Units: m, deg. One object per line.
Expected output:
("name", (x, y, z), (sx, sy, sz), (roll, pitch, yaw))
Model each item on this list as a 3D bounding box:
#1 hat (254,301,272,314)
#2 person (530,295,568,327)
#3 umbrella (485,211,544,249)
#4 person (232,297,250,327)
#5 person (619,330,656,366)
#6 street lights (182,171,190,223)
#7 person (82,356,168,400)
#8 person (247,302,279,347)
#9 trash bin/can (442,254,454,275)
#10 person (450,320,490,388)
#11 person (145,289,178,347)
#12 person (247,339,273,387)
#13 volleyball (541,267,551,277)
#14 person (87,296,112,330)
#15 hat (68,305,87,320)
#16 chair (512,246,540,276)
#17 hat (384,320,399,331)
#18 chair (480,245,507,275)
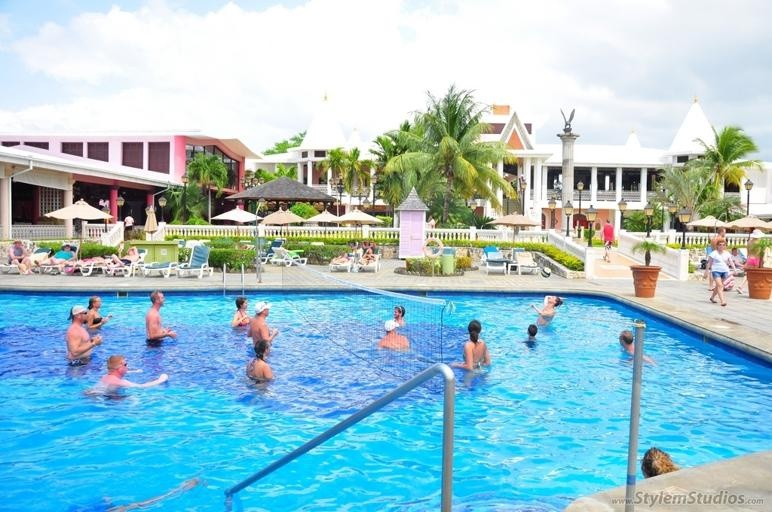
("hat", (-3.006, 1.334, 17.020), (0.323, 0.192, 0.421), (4, 20, 30))
("person", (4.663, 1.584, 19.815), (0.626, 0.788, 0.902), (0, 1, 11))
("umbrella", (6.138, -1.604, 34.359), (2.384, 1.631, 2.436), (2, 5, 24))
("person", (-4.134, 1.622, 19.437), (0.417, 0.760, 0.720), (-3, 10, -12))
("person", (6.209, 2.242, 17.028), (0.697, 0.845, 1.615), (0, 2, 13))
("street lights", (-13.011, -3.402, 44.361), (0.429, 2.417, 0.904), (-1, 1, -17))
("person", (-5.736, 2.723, 15.231), (0.838, 0.663, 1.306), (19, 19, 38))
("person", (-3.224, 1.841, 17.970), (0.654, 1.430, 0.493), (22, 33, 35))
("trash bin/can", (2.587, 0.393, 28.847), (0.723, 0.801, 0.729), (1, 4, 12))
("person", (1.969, 2.227, 16.085), (0.829, 1.409, 1.190), (0, 2, 29))
("person", (-5.961, 1.586, 18.136), (0.733, 1.440, 1.872), (-1, 1, -18))
("person", (-2.909, 2.518, 15.831), (0.748, 0.980, 0.604), (12, 18, 30))
("volleyball", (6.568, 0.682, 28.122), (0.321, 0.320, 0.402), (0, -8, 1))
("person", (-7.878, 1.609, 18.863), (0.729, 1.128, 0.672), (-4, 16, -20))
("hat", (-7.243, 1.319, 16.198), (0.410, 0.405, 0.326), (-9, 18, -34))
("chair", (6.079, 0.343, 30.280), (0.814, 0.991, 1.650), (1, 0, -5))
("hat", (0.174, 1.717, 16.825), (0.330, 0.160, 0.238), (-13, 26, -37))
("chair", (4.947, 0.238, 31.473), (1.278, 1.280, 3.505), (0, 0, 4))
